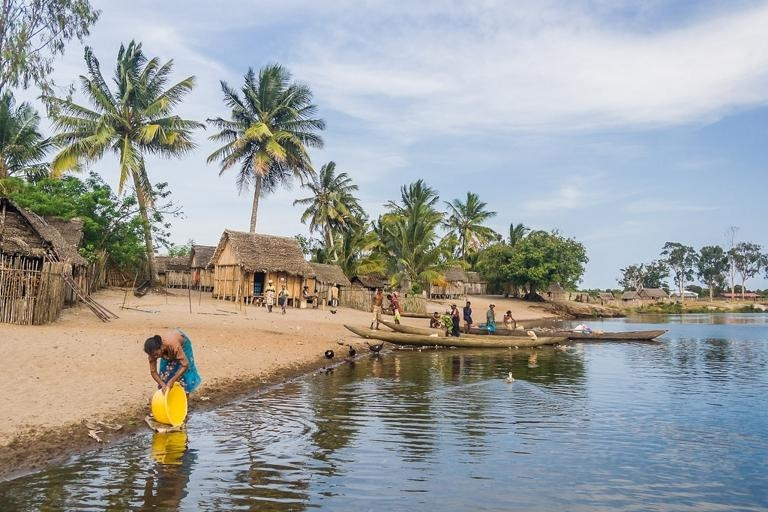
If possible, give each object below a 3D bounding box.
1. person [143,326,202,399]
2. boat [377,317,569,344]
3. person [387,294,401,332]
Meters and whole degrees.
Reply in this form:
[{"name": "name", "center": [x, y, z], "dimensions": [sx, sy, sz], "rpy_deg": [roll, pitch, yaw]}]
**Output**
[{"name": "person", "center": [-5.528, 2.818, 16.992], "dimensions": [1.140, 1.948, 1.423], "rpy_deg": [2, 30, 6]}, {"name": "boat", "center": [4.466, 4.032, 35.008], "dimensions": [11.352, 1.032, 1.838], "rpy_deg": [2, -8, -12]}, {"name": "person", "center": [0.571, 3.311, 37.391], "dimensions": [0.806, 2.064, 1.207], "rpy_deg": [-4, -23, -8]}]
